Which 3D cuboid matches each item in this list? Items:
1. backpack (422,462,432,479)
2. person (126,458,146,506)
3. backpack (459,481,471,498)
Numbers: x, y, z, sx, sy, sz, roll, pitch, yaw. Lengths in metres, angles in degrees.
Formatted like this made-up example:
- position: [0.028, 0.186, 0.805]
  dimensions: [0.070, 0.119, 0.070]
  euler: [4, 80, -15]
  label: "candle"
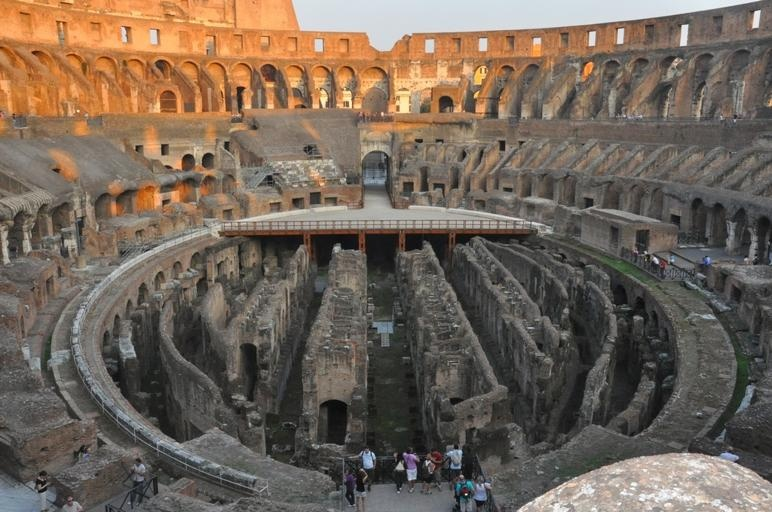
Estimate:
- position: [1.066, 5.710, 16.976]
  dimensions: [0.269, 0.550, 0.122]
  euler: [-3, 13, 3]
  label: "backpack"
- position: [-6.459, 5.861, 16.469]
  dimensions: [0.437, 0.862, 1.104]
  euler: [-8, 13, -21]
  label: "person"
- position: [1.972, 5.898, 16.121]
  dimensions: [0.261, 0.339, 0.348]
  euler: [0, -6, -1]
  label: "backpack"
